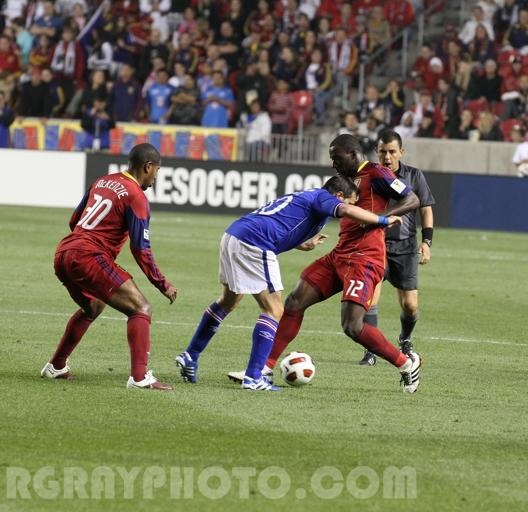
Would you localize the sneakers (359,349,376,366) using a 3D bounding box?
[{"bbox_3d":[0.787,0.766,7.838,0.067,0.081,0.195,3,-4,16],"label":"sneakers"}]

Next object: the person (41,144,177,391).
[{"bbox_3d":[-0.944,0.060,6.542,0.859,1.544,0.470,5,9,1],"label":"person"}]

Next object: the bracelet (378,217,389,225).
[{"bbox_3d":[0.774,-0.228,6.695,0.056,0.041,0.055,-10,18,-6],"label":"bracelet"}]

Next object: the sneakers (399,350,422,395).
[{"bbox_3d":[0.944,0.746,6.805,0.104,0.280,0.143,5,6,41],"label":"sneakers"}]

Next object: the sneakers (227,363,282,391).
[{"bbox_3d":[-0.056,0.787,6.797,0.392,0.167,0.126,4,8,-19],"label":"sneakers"}]

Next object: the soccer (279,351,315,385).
[{"bbox_3d":[0.212,0.736,6.914,0.221,0.209,0.209,-7,54,-14],"label":"soccer"}]

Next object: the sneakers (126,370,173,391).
[{"bbox_3d":[-0.709,0.777,6.538,0.305,0.124,0.114,2,0,-12],"label":"sneakers"}]

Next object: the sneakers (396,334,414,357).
[{"bbox_3d":[1.144,0.728,8.286,0.094,0.114,0.269,-19,30,6],"label":"sneakers"}]

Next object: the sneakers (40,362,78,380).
[{"bbox_3d":[-1.334,0.748,6.780,0.246,0.100,0.080,5,18,-11],"label":"sneakers"}]
